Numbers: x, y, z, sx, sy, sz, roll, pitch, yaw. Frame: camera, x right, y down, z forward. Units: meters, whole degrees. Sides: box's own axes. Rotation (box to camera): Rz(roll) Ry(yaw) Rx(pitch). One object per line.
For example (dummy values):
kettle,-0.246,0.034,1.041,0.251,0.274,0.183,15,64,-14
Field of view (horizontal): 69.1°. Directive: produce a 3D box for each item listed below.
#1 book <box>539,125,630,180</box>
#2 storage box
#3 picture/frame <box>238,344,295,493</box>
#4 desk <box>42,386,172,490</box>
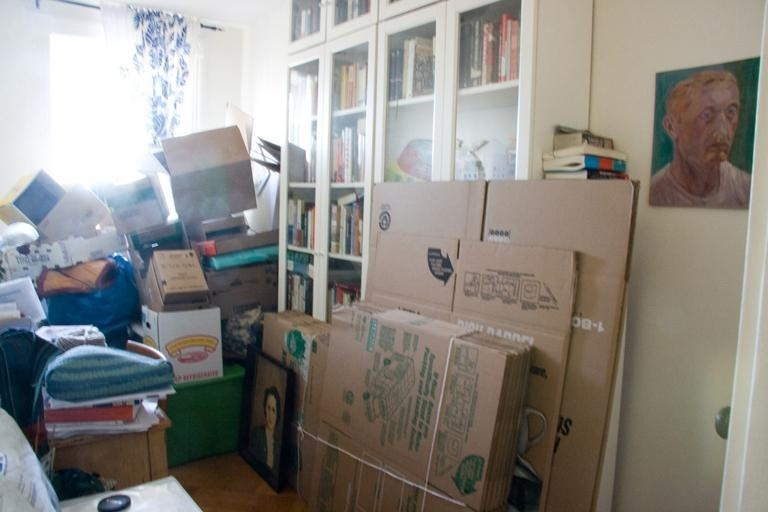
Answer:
book,0.904,-0.429,2.514,0.280,0.197,0.306,4,4,-6
storage box,-1.074,-0.050,3.481,0.904,1.484,0.539,-9,13,-30
picture/frame,-0.652,0.936,3.155,0.088,0.856,0.683,-1,7,-38
desk,-1.154,0.779,2.454,0.438,0.330,0.489,1,-5,-15
